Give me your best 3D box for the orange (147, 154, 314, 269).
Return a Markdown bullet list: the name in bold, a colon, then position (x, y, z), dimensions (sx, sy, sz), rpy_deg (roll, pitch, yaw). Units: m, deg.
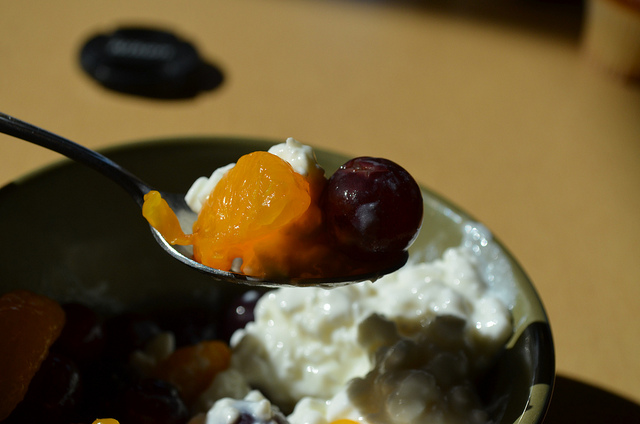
- **orange**: position (-0.217, 0.006, 1.652), dimensions (0.394, 0.135, 0.209), rpy_deg (-14, 61, -1)
